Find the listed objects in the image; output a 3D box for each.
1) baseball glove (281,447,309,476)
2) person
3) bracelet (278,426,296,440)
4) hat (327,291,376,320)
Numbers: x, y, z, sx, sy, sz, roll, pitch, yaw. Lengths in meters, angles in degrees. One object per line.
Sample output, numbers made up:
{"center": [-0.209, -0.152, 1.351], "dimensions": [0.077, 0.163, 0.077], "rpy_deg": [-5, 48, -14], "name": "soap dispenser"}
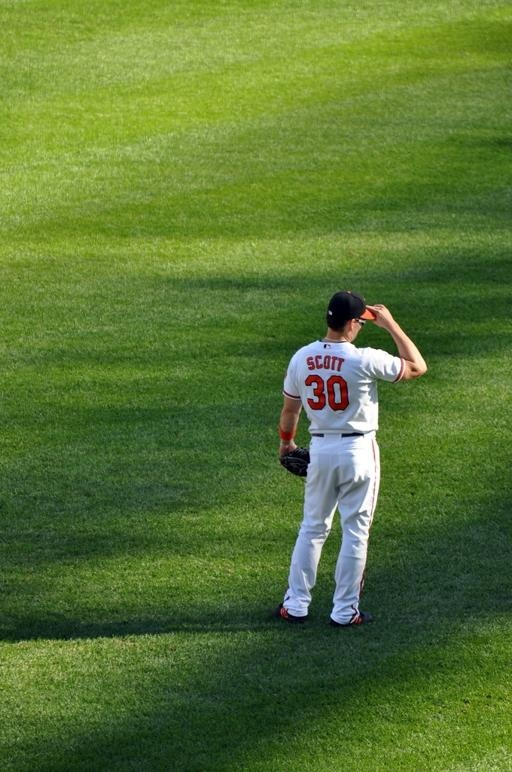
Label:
{"center": [0.280, 0.515, 12.457], "dimensions": [0.268, 0.113, 0.139], "rpy_deg": [12, 51, 21], "name": "baseball glove"}
{"center": [0.592, 0.544, 12.256], "dimensions": [0.877, 2.300, 0.496], "rpy_deg": [5, 12, 0], "name": "person"}
{"center": [0.226, 0.337, 12.390], "dimensions": [0.069, 0.063, 0.075], "rpy_deg": [-1, -23, 33], "name": "bracelet"}
{"center": [0.648, -0.489, 12.105], "dimensions": [0.242, 0.153, 0.161], "rpy_deg": [-15, 32, -27], "name": "hat"}
